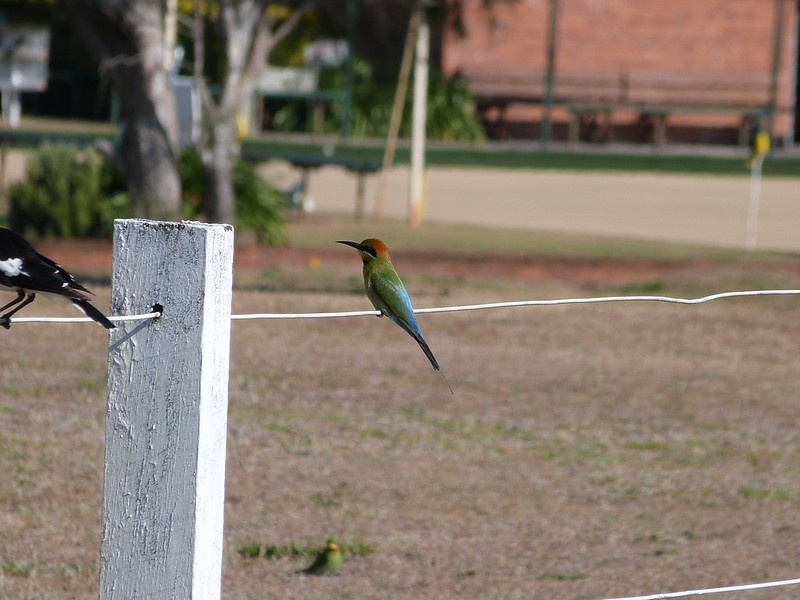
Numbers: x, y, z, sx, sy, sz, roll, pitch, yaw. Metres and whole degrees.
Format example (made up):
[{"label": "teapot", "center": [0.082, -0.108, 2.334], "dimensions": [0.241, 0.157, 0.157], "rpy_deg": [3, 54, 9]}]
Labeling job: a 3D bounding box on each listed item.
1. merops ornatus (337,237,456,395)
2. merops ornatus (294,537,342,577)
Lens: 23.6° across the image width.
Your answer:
[{"label": "merops ornatus", "center": [-0.115, -0.071, 15.529], "dimensions": [0.461, 0.775, 1.031], "rpy_deg": [-1, 8, -17]}, {"label": "merops ornatus", "center": [-0.658, 2.013, 14.805], "dimensions": [0.332, 0.245, 0.186], "rpy_deg": [-6, -3, 22]}]
